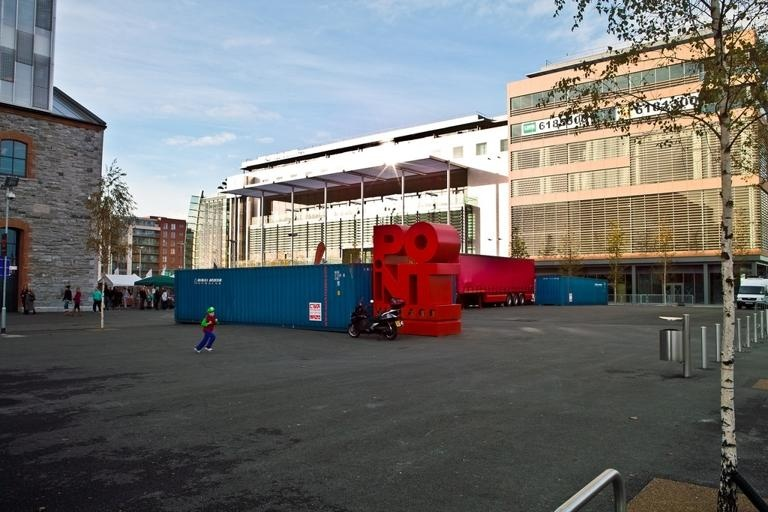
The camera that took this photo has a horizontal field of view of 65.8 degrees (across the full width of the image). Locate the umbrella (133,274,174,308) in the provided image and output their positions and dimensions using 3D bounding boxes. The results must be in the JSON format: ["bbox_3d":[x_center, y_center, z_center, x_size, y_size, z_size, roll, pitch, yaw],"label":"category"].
[{"bbox_3d":[-20.103,3.100,51.816,3.014,2.223,2.733,-1,-3,23],"label":"umbrella"}]

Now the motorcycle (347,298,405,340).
[{"bbox_3d":[-0.378,2.513,23.371,2.557,1.482,0.896,-3,-12,33],"label":"motorcycle"}]

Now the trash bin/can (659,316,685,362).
[{"bbox_3d":[7.179,2.016,14.641,0.645,1.035,0.603,-2,-2,27],"label":"trash bin/can"}]

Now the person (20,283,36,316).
[{"bbox_3d":[-22.379,2.724,37.296,0.670,1.766,1.090,1,-5,-36],"label":"person"}]

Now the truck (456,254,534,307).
[{"bbox_3d":[8.376,1.913,47.129,8.972,3.477,2.492,2,-5,-36],"label":"truck"}]

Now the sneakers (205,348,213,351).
[{"bbox_3d":[-5.712,3.038,19.273,0.323,0.139,0.111,-3,-2,18],"label":"sneakers"}]
